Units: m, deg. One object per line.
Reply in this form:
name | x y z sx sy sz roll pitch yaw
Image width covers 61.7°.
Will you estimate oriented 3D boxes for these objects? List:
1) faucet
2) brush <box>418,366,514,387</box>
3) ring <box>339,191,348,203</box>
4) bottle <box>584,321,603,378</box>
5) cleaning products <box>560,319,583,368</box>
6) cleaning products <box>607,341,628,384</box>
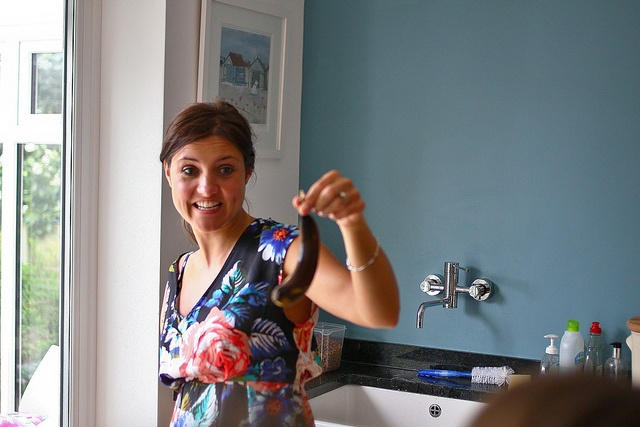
faucet | 0.577 0.340 2.276 0.314 0.267 0.188 0 -4 15
brush | 0.618 0.667 2.266 0.379 0.111 0.119 0 -21 18
ring | 0.047 -0.032 1.061 0.012 0.020 0.006 -21 9 -11
bottle | 1.068 0.520 2.087 0.069 0.194 0.198 -1 -4 28
cleaning products | 1.001 0.511 2.129 0.091 0.177 0.154 0 -4 26
cleaning products | 1.135 0.562 2.054 0.078 0.130 0.228 -1 -4 30
